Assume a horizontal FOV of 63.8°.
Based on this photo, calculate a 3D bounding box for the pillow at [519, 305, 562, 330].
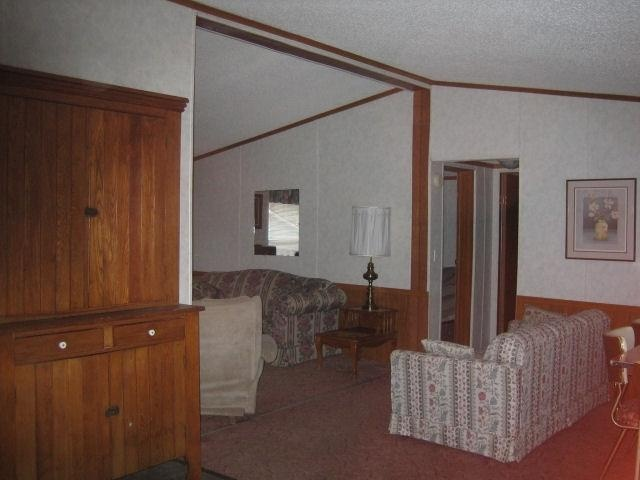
[{"bbox_3d":[2.322,0.789,5.404,0.295,0.077,0.325,-7,6,24],"label":"pillow"}]

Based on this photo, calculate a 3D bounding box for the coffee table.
[{"bbox_3d":[0.477,1.214,6.407,0.734,0.692,0.952,1,1,33],"label":"coffee table"}]

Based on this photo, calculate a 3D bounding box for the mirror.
[{"bbox_3d":[-0.613,-0.262,7.774,0.983,1.337,0.050,1,0,30],"label":"mirror"}]

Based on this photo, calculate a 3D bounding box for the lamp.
[{"bbox_3d":[0.600,0.226,6.497,0.468,1.307,0.538,-1,4,-11],"label":"lamp"}]
